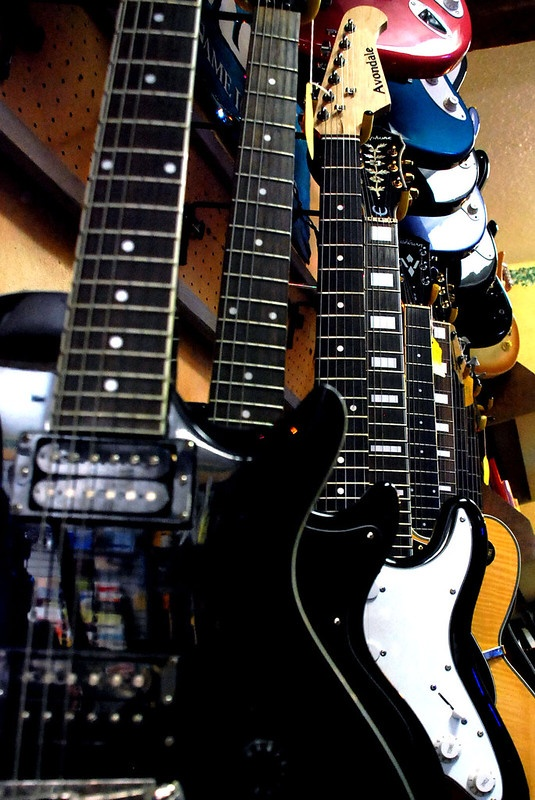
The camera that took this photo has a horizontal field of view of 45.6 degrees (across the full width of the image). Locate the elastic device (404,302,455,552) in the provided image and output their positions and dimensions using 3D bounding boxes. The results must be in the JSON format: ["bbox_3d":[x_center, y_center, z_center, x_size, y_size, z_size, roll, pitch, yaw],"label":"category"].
[{"bbox_3d":[0.439,0.089,1.817,0.093,0.013,0.581,-2,86,6],"label":"elastic device"}]
